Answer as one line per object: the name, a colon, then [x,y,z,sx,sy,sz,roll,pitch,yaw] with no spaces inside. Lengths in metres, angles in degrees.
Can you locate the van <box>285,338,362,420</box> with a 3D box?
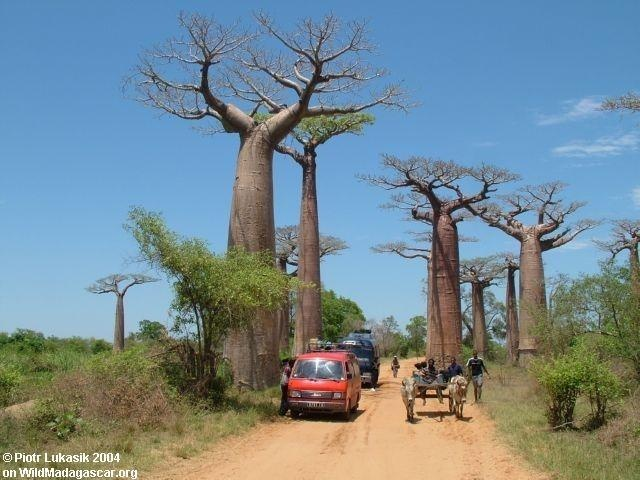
van: [0.089,3.961,15.929,1.653,1.718,2.113,2,-4,14]

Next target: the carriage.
carriage: [3.180,4.251,16.095,1.224,0.843,1.873,0,-29,4]

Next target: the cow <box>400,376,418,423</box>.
cow: [2.429,4.241,15.710,0.377,1.163,1.226,2,-4,10]
